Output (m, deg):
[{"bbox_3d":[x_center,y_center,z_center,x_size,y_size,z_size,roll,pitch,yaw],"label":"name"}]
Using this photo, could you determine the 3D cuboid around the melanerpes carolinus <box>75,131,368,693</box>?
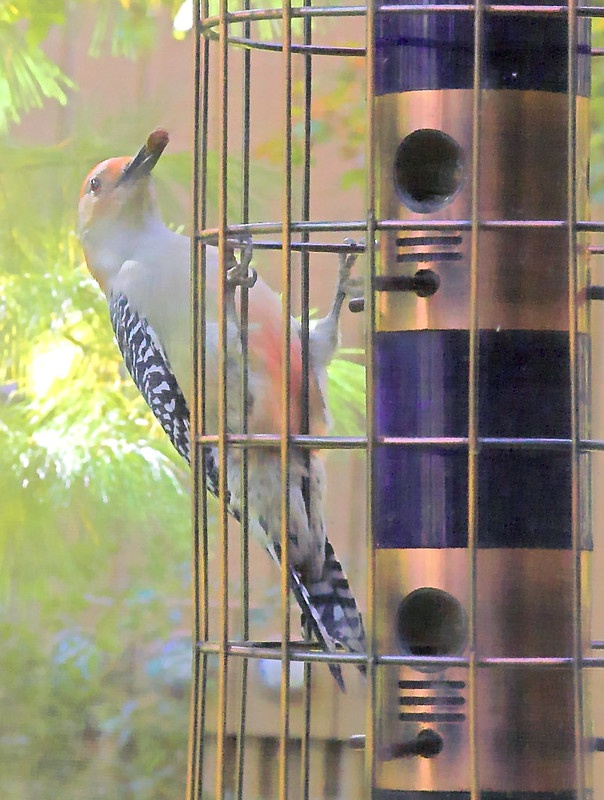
[{"bbox_3d":[-0.200,-0.050,4.416,0.568,1.054,1.664,2,6,-7],"label":"melanerpes carolinus"}]
